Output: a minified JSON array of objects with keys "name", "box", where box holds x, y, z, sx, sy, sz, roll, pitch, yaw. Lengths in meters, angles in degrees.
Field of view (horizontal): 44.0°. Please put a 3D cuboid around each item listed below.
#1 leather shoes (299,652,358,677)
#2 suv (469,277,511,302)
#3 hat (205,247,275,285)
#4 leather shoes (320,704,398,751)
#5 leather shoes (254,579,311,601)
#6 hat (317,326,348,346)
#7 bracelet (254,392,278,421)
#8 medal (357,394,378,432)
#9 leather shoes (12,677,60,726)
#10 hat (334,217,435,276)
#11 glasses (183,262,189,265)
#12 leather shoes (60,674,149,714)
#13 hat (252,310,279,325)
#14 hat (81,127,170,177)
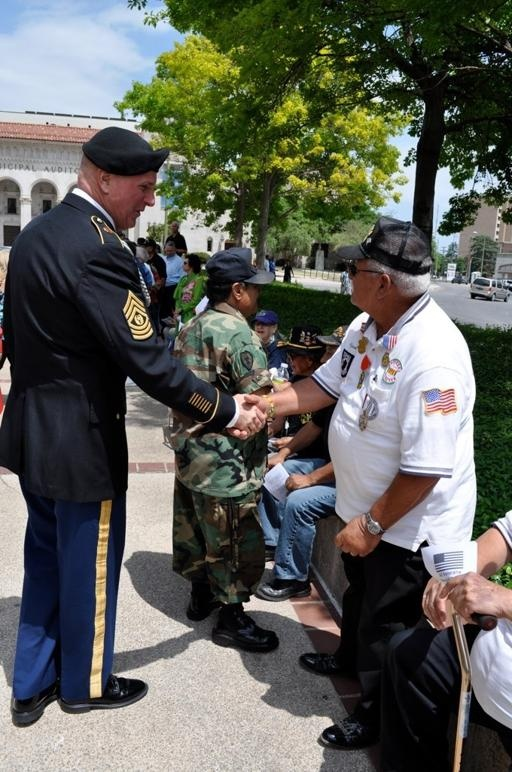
[{"name":"leather shoes","box":[0.300,1.220,2.799,0.272,0.092,0.089,11,30,-9]},{"name":"suv","box":[16.656,-6.752,44.537,1.800,1.404,3.540,10,18,38]},{"name":"hat","box":[-0.077,-0.543,2.875,0.305,0.135,0.170,-7,21,-20]},{"name":"leather shoes","box":[0.409,1.235,2.337,0.316,0.116,0.107,4,8,-25]},{"name":"leather shoes","box":[0.152,1.117,3.495,0.327,0.122,0.110,5,-5,-17]},{"name":"hat","box":[0.535,-0.330,4.183,0.241,0.078,0.146,-5,13,-33]},{"name":"bracelet","box":[0.039,0.086,2.663,0.048,0.108,0.085,-19,49,-1]},{"name":"medal","box":[0.385,0.093,2.169,0.083,0.102,0.043,-20,26,-24]},{"name":"leather shoes","box":[-0.802,1.155,2.322,0.064,0.071,0.175,3,9,20]},{"name":"hat","box":[0.450,-0.501,2.189,0.344,0.153,0.201,15,32,13]},{"name":"glasses","box":[-1.270,-2.207,11.398,0.118,0.047,0.085,6,5,-11]},{"name":"leather shoes","box":[-0.574,1.139,2.400,0.287,0.099,0.117,-1,6,-28]},{"name":"hat","box":[0.108,-0.628,5.799,0.136,0.086,0.189,5,-4,36]},{"name":"hat","box":[-0.419,-0.755,2.060,0.235,0.076,0.183,18,44,3]}]
